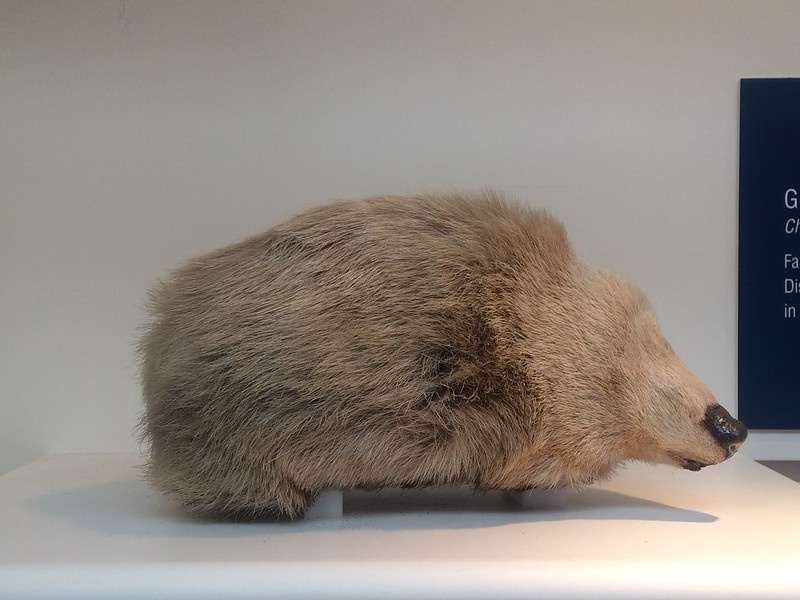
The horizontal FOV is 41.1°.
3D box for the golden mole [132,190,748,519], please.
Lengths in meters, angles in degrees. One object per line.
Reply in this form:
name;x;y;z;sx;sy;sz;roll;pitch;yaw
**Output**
golden mole;0.039;0.085;2.276;1.210;0.503;0.568;1;14;-1
